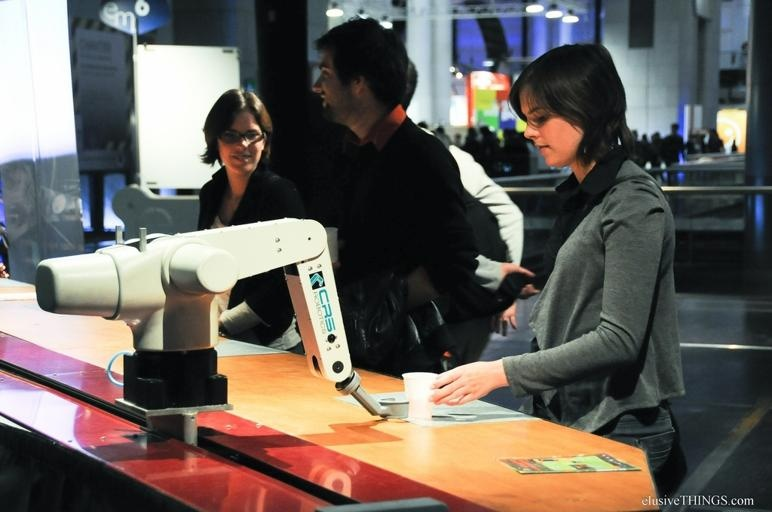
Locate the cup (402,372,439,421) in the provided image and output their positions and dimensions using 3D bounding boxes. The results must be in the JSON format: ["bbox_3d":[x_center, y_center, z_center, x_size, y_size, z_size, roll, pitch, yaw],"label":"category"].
[{"bbox_3d":[0.087,0.357,1.905,0.119,0.113,0.108,0,2,0],"label":"cup"}]
